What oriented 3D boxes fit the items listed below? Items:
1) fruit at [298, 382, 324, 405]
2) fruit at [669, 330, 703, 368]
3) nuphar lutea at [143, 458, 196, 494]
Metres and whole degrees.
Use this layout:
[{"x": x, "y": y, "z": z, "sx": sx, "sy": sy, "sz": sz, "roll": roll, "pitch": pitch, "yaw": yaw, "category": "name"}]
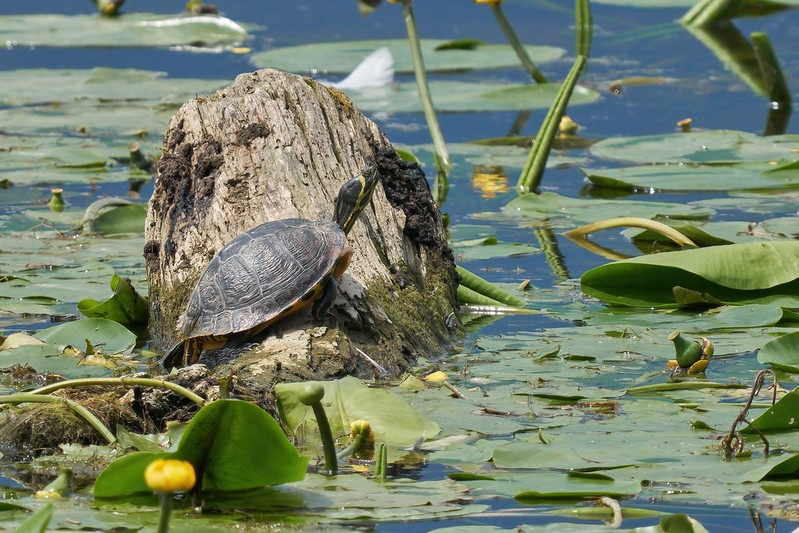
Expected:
[{"x": -0.553, "y": 0.809, "z": 6.344, "sx": 0.144, "sy": 0.174, "sz": 0.100, "roll": 4, "pitch": 20, "yaw": -5, "category": "fruit"}, {"x": 2.402, "y": 0.703, "z": 8.486, "sx": 0.230, "sy": 0.285, "sz": 0.213, "roll": -35, "pitch": 12, "yaw": 29, "category": "fruit"}, {"x": -1.350, "y": 1.221, "z": 5.877, "sx": 0.255, "sy": 0.110, "sz": 0.290, "roll": 0, "pitch": -1, "yaw": -43, "category": "nuphar lutea"}]
